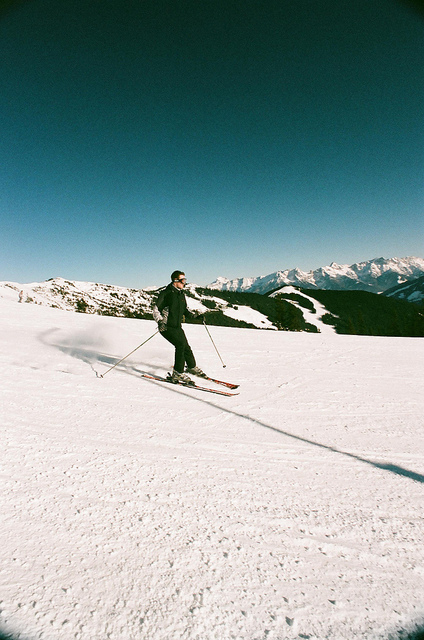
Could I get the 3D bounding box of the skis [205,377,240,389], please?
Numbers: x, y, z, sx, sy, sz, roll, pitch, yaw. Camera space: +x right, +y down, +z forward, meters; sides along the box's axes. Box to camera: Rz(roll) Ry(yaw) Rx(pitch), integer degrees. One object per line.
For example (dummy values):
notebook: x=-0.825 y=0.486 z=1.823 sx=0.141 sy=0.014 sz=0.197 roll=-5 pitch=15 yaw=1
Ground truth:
skis: x=0.281 y=1.275 z=10.592 sx=0.132 sy=0.082 sz=0.627 roll=-31 pitch=28 yaw=-28

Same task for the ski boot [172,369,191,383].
ski boot: x=-0.594 y=1.116 z=10.753 sx=0.445 sy=0.205 sz=0.201 roll=6 pitch=9 yaw=28
